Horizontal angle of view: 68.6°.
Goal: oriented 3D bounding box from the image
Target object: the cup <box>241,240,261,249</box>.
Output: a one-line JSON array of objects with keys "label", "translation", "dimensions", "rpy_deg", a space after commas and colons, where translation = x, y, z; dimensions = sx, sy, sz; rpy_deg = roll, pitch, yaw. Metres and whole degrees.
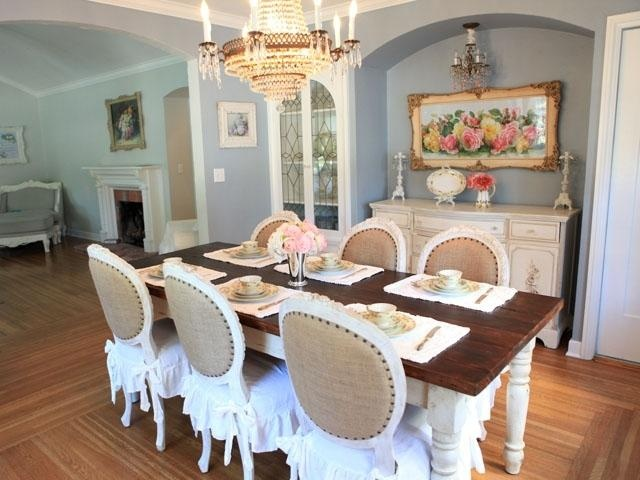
[{"label": "cup", "translation": [-0.491, 0.037, 3.375], "dimensions": [0.081, 0.039, 0.081], "rpy_deg": [0, 4, 0]}]

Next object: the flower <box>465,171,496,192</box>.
[{"label": "flower", "translation": [1.380, -0.495, 4.075], "dimensions": [0.209, 0.152, 0.216], "rpy_deg": [6, 8, 39]}]

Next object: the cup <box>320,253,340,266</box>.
[{"label": "cup", "translation": [0.075, 0.123, 2.987], "dimensions": [0.083, 0.059, 0.081], "rpy_deg": [1, 2, 0]}]

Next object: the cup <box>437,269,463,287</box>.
[{"label": "cup", "translation": [0.713, 0.207, 2.578], "dimensions": [0.104, 0.062, 0.091], "rpy_deg": [5, 9, 2]}]

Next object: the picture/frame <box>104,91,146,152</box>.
[{"label": "picture/frame", "translation": [-2.834, -1.769, 6.887], "dimensions": [0.851, 0.852, 0.089], "rpy_deg": [7, 17, 35]}]

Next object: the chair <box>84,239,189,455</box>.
[{"label": "chair", "translation": [-1.017, 0.618, 3.057], "dimensions": [0.701, 1.241, 0.723], "rpy_deg": [8, 17, 43]}]

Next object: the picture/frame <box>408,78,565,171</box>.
[{"label": "picture/frame", "translation": [1.533, -1.051, 4.210], "dimensions": [0.945, 0.570, 0.050], "rpy_deg": [5, 18, 35]}]

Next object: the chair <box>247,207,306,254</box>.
[{"label": "chair", "translation": [-0.339, -0.078, 3.658], "dimensions": [0.322, 0.460, 0.316], "rpy_deg": [-5, 9, -43]}]

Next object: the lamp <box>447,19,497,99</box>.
[{"label": "lamp", "translation": [1.292, -1.566, 4.116], "dimensions": [0.351, 0.589, 0.375], "rpy_deg": [4, 13, 25]}]

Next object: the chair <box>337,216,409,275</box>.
[{"label": "chair", "translation": [0.382, -0.002, 3.400], "dimensions": [0.383, 0.652, 0.396], "rpy_deg": [5, 7, 36]}]

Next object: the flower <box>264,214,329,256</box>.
[{"label": "flower", "translation": [-0.156, -0.027, 2.724], "dimensions": [0.235, 0.183, 0.241], "rpy_deg": [-2, 6, 36]}]

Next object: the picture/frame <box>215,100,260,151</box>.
[{"label": "picture/frame", "translation": [-0.842, -1.141, 4.633], "dimensions": [0.475, 0.493, 0.018], "rpy_deg": [-14, 19, -41]}]
